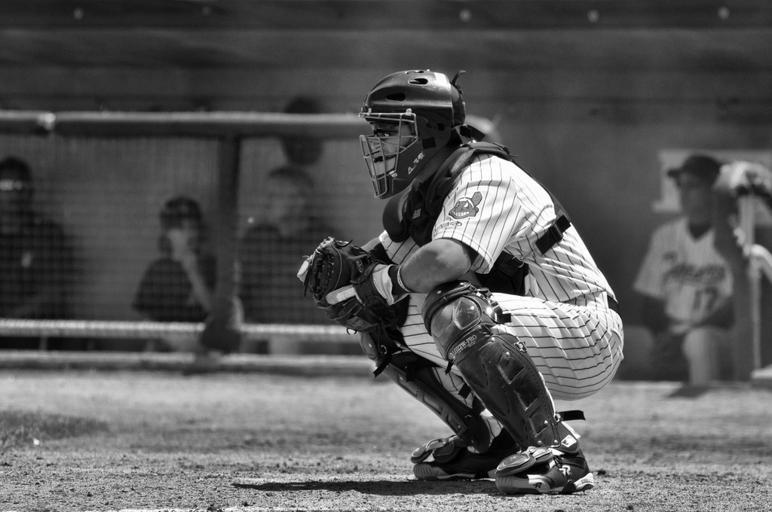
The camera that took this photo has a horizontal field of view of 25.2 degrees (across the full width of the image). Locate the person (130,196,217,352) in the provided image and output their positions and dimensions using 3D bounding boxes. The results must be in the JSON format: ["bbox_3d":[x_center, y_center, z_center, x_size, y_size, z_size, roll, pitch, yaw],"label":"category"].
[{"bbox_3d":[-1.397,0.017,11.350,0.540,0.791,0.279,-3,12,-8],"label":"person"}]

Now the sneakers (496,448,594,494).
[{"bbox_3d":[0.863,1.164,9.318,0.428,0.173,0.255,5,-12,-20],"label":"sneakers"}]

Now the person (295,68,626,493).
[{"bbox_3d":[0.495,0.122,9.490,1.452,2.258,0.771,5,14,28],"label":"person"}]
